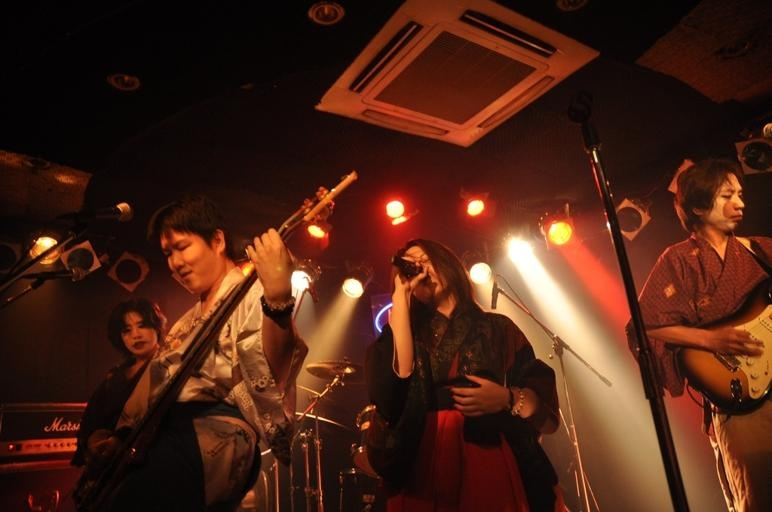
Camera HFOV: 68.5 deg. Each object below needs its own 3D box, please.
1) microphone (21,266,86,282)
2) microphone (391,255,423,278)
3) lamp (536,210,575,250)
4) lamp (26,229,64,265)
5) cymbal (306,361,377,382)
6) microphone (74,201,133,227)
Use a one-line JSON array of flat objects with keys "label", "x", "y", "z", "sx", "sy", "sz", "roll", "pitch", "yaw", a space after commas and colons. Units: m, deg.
[{"label": "microphone", "x": -3.538, "y": 0.209, "z": 6.106, "sx": 0.638, "sy": 0.173, "sz": 0.154, "roll": -8, "pitch": 17, "yaw": -34}, {"label": "microphone", "x": 0.237, "y": 0.118, "z": 6.054, "sx": 0.126, "sy": 0.130, "sz": 0.402, "roll": 15, "pitch": -11, "yaw": 37}, {"label": "lamp", "x": 2.000, "y": -0.291, "z": 6.613, "sx": 0.409, "sy": 0.390, "sz": 0.391, "roll": -5, "pitch": 0, "yaw": 2}, {"label": "lamp", "x": -3.670, "y": -0.111, "z": 6.080, "sx": 0.382, "sy": 0.386, "sz": 0.135, "roll": -10, "pitch": 25, "yaw": -33}, {"label": "cymbal", "x": -0.592, "y": 1.347, "z": 6.675, "sx": 0.419, "sy": 0.097, "sz": 0.425, "roll": 8, "pitch": -34, "yaw": -9}, {"label": "microphone", "x": -2.805, "y": -0.479, "z": 5.969, "sx": 0.283, "sy": 0.279, "sz": 0.801, "roll": 2, "pitch": 11, "yaw": 25}]
